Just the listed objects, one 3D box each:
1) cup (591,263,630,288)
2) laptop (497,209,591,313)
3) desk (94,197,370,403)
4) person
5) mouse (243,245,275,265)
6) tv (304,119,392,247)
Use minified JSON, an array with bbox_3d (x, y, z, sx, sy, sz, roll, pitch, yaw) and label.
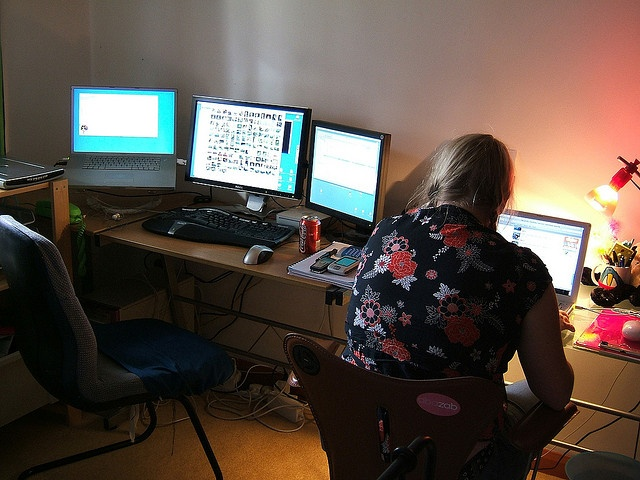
[{"bbox_3d":[1.141,0.139,1.928,0.114,0.084,0.075,4,8,34],"label":"cup"},{"bbox_3d":[1.008,0.039,2.209,0.455,0.404,0.332,12,18,34],"label":"laptop"},{"bbox_3d":[-0.421,0.037,2.116,1.095,0.544,0.621,14,28,30],"label":"desk"},{"bbox_3d":[0.414,0.084,1.333,0.558,0.722,0.410,21,19,40],"label":"person"},{"bbox_3d":[-0.255,0.061,2.024,0.082,0.071,0.127,17,16,26],"label":"mouse"},{"bbox_3d":[0.124,-0.261,2.147,0.426,0.501,0.203,20,29,32],"label":"tv"}]
